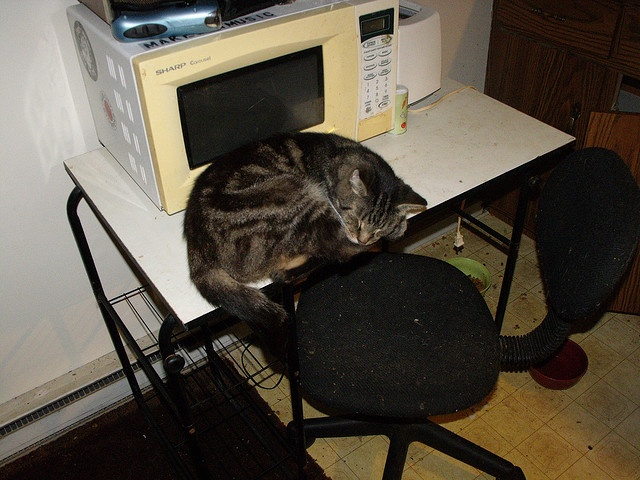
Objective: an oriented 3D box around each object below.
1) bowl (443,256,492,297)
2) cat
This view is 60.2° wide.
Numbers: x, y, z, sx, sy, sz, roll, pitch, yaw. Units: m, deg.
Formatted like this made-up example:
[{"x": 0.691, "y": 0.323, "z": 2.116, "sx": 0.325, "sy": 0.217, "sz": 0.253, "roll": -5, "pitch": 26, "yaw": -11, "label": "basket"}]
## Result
[{"x": 0.675, "y": 0.165, "z": 2.492, "sx": 0.179, "sy": 0.076, "sz": 0.199, "roll": 28, "pitch": 91, "yaw": 24, "label": "bowl"}, {"x": -0.061, "y": -0.104, "z": 1.561, "sx": 0.629, "sy": 0.254, "sz": 0.504, "roll": -33, "pitch": 72, "yaw": -29, "label": "cat"}]
